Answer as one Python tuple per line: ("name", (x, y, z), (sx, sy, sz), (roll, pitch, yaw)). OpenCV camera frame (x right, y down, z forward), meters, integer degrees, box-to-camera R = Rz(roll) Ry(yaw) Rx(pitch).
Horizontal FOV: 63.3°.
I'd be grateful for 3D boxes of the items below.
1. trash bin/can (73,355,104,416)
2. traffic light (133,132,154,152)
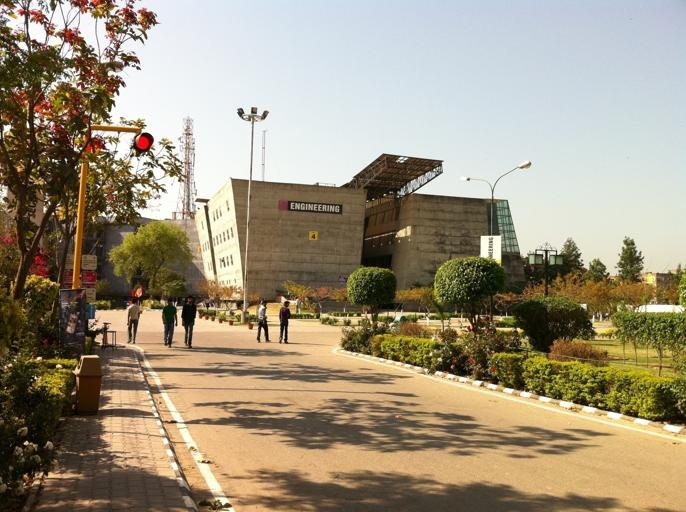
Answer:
("trash bin/can", (-5.145, 2.664, 11.464), (0.508, 0.863, 0.421), (9, -16, -33))
("traffic light", (-4.787, -2.729, 13.418), (0.391, 0.426, 0.772), (3, -6, -26))
